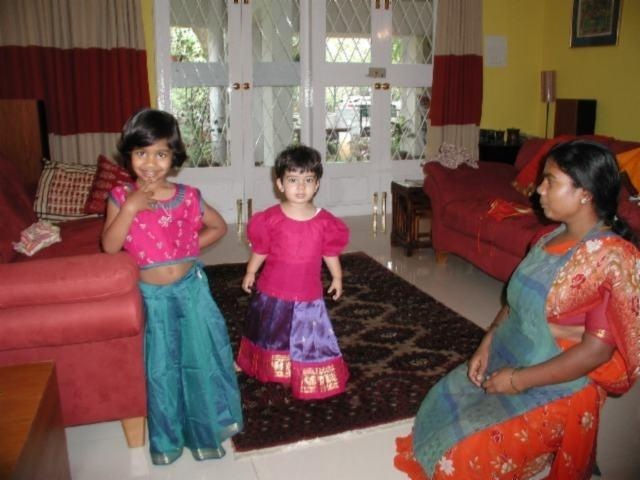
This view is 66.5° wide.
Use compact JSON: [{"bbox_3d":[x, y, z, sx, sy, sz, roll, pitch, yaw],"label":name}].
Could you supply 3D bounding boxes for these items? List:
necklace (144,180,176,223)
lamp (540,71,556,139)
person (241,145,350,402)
[{"bbox_3d":[-0.640,-0.147,1.928,0.099,0.146,0.044,-28,14,-16],"label":"necklace"},{"bbox_3d":[2.615,-1.535,5.634,0.171,0.771,0.652,5,18,24],"label":"lamp"},{"bbox_3d":[-0.132,0.135,2.458,0.541,1.266,0.450,6,23,5],"label":"person"}]
